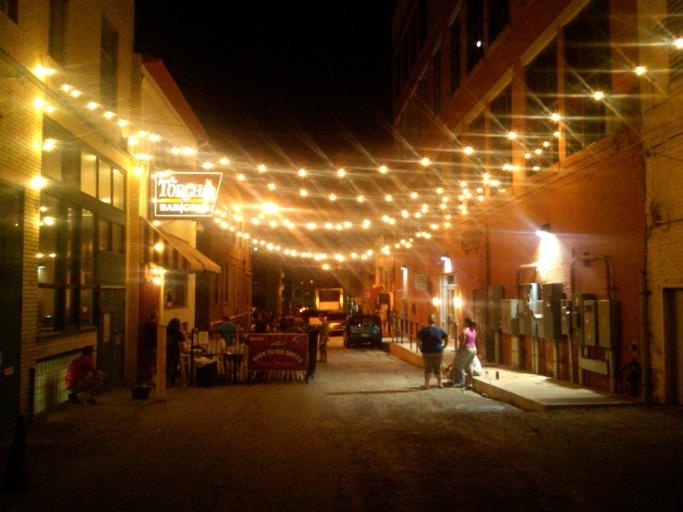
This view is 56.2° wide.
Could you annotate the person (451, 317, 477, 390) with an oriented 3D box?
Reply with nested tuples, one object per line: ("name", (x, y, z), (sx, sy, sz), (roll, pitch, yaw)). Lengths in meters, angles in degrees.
("person", (3.346, 2.629, 17.473), (0.626, 1.904, 0.687), (0, 1, 10))

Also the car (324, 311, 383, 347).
("car", (0.832, 3.715, 33.020), (1.365, 1.374, 4.093), (1, -1, -5))

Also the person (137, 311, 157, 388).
("person", (-5.435, 2.651, 17.979), (0.610, 1.725, 0.386), (0, 1, 39))

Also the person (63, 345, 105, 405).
("person", (-5.966, 2.761, 14.815), (0.814, 1.368, 0.600), (-1, 1, -21))

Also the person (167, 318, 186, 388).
("person", (-4.722, 2.680, 18.070), (0.478, 1.855, 1.076), (-1, 1, -16))
